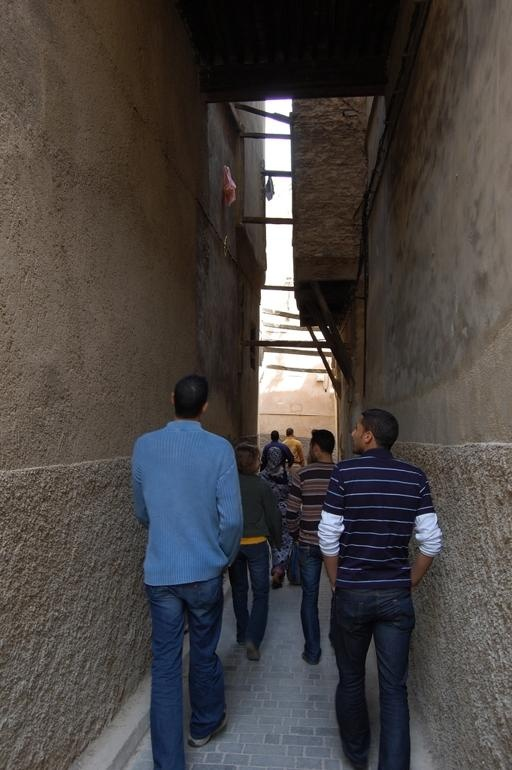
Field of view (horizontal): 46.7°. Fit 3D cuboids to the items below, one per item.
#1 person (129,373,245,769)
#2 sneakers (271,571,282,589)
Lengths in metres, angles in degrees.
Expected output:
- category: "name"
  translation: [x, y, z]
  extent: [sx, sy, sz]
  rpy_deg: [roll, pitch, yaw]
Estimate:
- category: "person"
  translation: [-0.294, 0.718, 2.407]
  extent: [0.469, 1.545, 0.455]
  rpy_deg: [4, -4, -13]
- category: "sneakers"
  translation: [0.200, 1.802, 5.512]
  extent: [0.052, 0.171, 0.197]
  rpy_deg: [2, 0, 6]
